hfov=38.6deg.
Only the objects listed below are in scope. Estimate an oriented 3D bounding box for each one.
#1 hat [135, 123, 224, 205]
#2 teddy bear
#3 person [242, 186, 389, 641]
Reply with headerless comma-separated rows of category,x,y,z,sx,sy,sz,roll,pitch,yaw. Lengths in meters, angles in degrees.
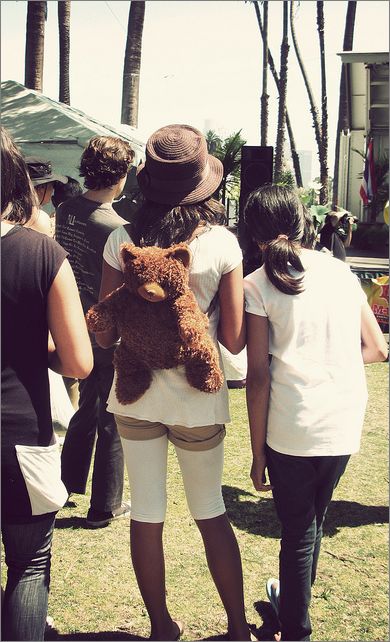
hat,-0.039,-0.510,1.824,0.292,0.279,0.243,2,6,-9
teddy bear,-0.121,0.018,1.729,0.397,0.522,0.202,6,7,22
person,0.382,0.338,1.937,0.506,1.597,0.331,4,6,4
